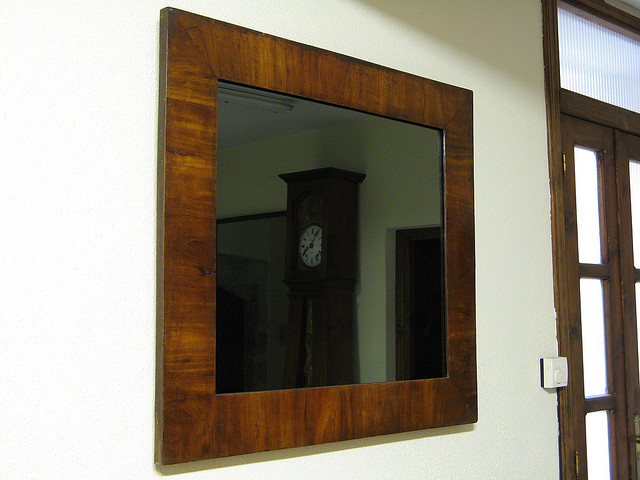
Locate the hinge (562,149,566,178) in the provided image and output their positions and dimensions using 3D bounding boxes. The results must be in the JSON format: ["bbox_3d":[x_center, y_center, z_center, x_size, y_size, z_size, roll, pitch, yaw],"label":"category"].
[{"bbox_3d":[0.843,-0.267,2.192,0.006,0.094,0.023,-7,-11,34],"label":"hinge"}]

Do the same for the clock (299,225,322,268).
[{"bbox_3d":[-0.027,0.016,1.624,0.095,0.124,0.012,2,-2,-40],"label":"clock"}]
